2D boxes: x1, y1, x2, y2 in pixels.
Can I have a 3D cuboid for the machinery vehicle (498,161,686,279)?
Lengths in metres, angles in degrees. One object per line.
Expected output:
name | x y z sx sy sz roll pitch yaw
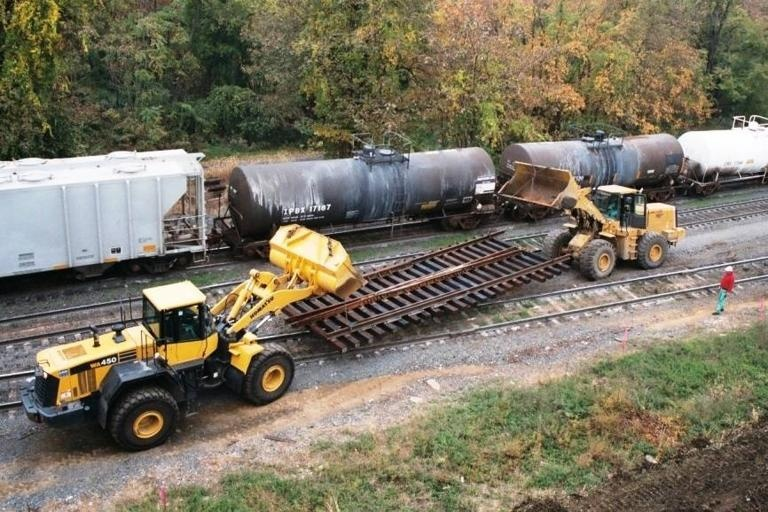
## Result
machinery vehicle | 10.746 -1.759 27.194 8.807 5.196 4.390 -9 22 -20

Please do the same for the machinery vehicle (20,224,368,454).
machinery vehicle | -6.168 2.727 18.358 9.217 4.607 3.241 -14 30 -30

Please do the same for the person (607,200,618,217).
person | 9.547 -1.933 24.460 0.357 0.739 0.119 -5 11 8
